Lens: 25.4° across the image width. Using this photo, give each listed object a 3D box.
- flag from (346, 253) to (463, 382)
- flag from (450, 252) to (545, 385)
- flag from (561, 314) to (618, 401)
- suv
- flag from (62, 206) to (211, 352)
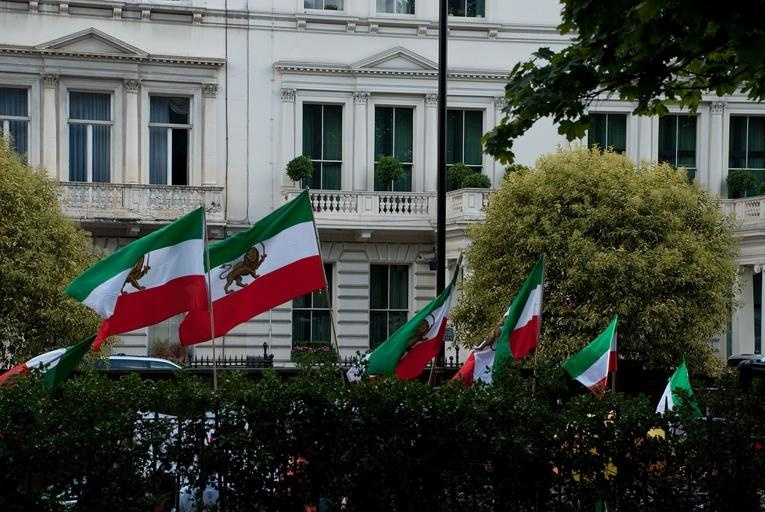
[{"bbox_3d":[0.751,1.631,39.041,2.064,2.470,0.555,-3,11,-22],"label":"flag"},{"bbox_3d":[2.788,1.510,38.721,1.834,3.070,1.598,-7,13,-39],"label":"flag"},{"bbox_3d":[4.960,2.455,40.431,1.171,2.158,1.205,0,-2,4],"label":"flag"},{"bbox_3d":[-6.656,3.843,48.966,3.851,1.746,2.051,2,-18,-22],"label":"suv"},{"bbox_3d":[-5.204,0.333,37.793,2.644,2.628,0.578,0,10,-9],"label":"flag"}]
